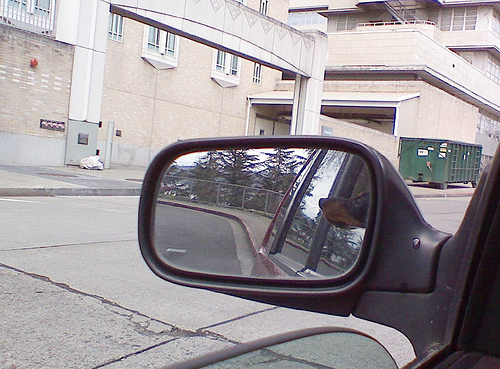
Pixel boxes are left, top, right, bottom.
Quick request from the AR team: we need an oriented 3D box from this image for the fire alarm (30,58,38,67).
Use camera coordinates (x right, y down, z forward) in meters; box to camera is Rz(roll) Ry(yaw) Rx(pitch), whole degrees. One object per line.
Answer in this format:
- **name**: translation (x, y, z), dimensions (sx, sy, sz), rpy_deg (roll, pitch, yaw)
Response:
- **fire alarm**: translation (-9.429, -5.375, 17.174), dimensions (0.279, 0.414, 0.238), rpy_deg (3, 10, -29)

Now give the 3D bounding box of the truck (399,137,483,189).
- **truck**: translation (10.187, -1.115, 21.141), dimensions (4.733, 2.409, 2.558), rpy_deg (-1, 7, -44)
